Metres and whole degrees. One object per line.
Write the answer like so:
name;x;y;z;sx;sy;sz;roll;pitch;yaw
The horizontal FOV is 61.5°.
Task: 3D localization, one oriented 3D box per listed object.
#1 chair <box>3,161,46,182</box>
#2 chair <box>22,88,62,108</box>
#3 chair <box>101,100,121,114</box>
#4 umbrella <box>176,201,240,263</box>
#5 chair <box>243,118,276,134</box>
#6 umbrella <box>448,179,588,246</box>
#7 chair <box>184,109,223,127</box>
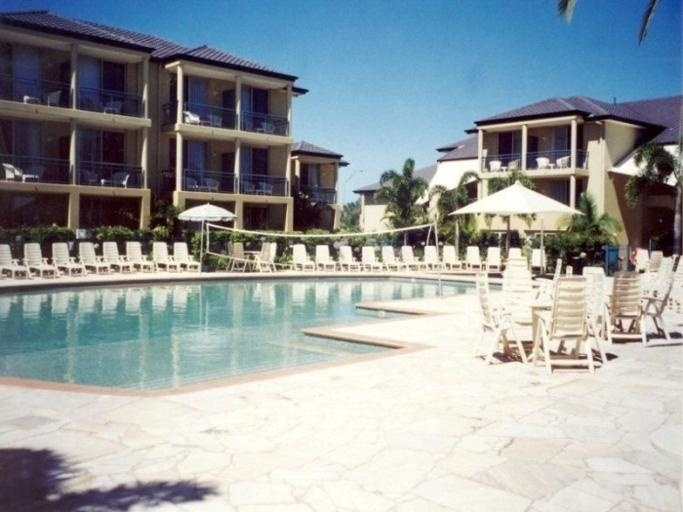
chair;-13.776;-3.561;24.710;1.056;0.712;0.862;0;0;8
chair;-13.415;-7.144;25.630;1.182;0.434;0.887;2;2;-20
chair;-11.072;-7.169;27.745;0.615;0.884;0.716;0;3;2
umbrella;-6.409;-0.900;26.756;2.058;2.939;4.518;-1;3;-16
chair;-4.821;-7.400;32.886;1.263;0.632;1.287;2;5;3
umbrella;8.782;-1.916;27.791;4.180;1.884;4.099;-3;2;-6
chair;-7.380;-7.273;30.567;0.945;0.939;2.521;1;3;21
